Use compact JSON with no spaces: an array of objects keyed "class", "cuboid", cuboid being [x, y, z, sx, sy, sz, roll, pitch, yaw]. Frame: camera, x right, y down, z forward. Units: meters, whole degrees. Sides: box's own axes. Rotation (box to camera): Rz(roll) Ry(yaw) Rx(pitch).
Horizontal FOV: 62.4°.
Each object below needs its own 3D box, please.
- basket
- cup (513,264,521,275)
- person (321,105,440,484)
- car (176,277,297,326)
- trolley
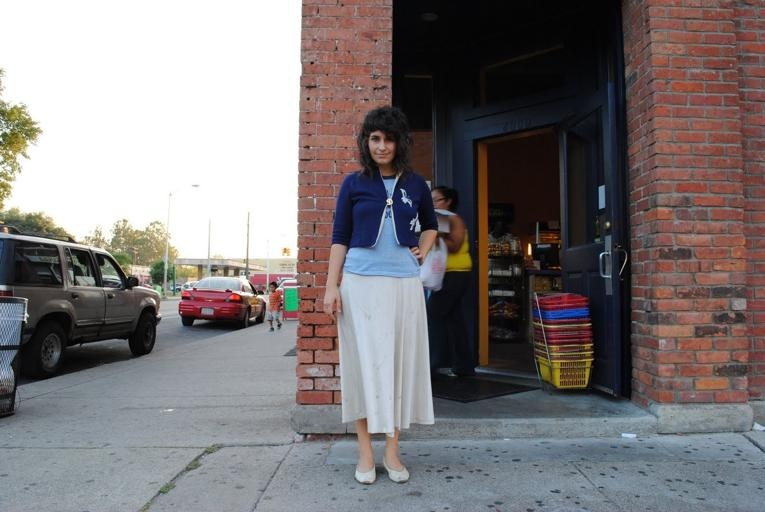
[{"class":"basket","cuboid":[2.140,1.039,7.507,0.734,1.160,0.527,3,15,20]},{"class":"cup","cuboid":[2.559,0.266,11.960,0.163,0.189,0.164,0,-3,0]},{"class":"person","cuboid":[0.018,0.353,5.696,1.036,3.270,0.919,-9,16,-25]},{"class":"car","cuboid":[-4.478,1.332,19.153,1.524,0.967,2.945,-1,0,6]},{"class":"trolley","cuboid":[2.206,1.045,7.661,0.754,1.018,0.772,-5,-6,15]}]
